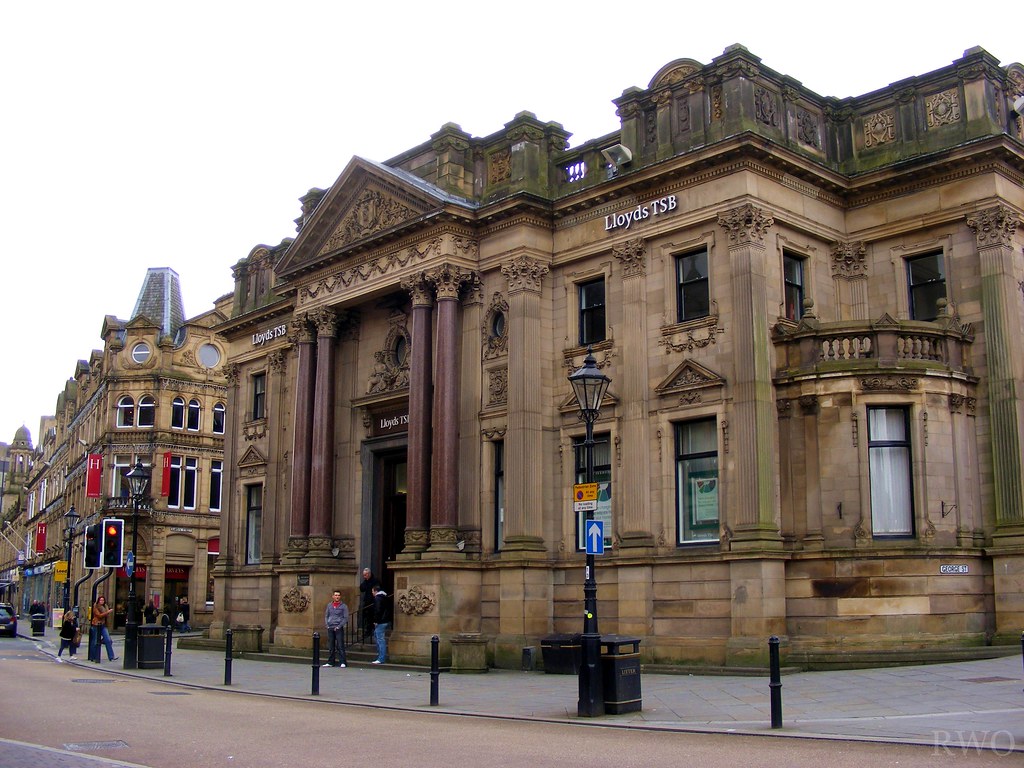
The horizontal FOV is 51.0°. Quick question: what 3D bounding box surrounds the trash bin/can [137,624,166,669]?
[{"bbox_3d":[-10.666,7.689,31.593,0.763,1.238,0.568,4,-16,-19],"label":"trash bin/can"}]
